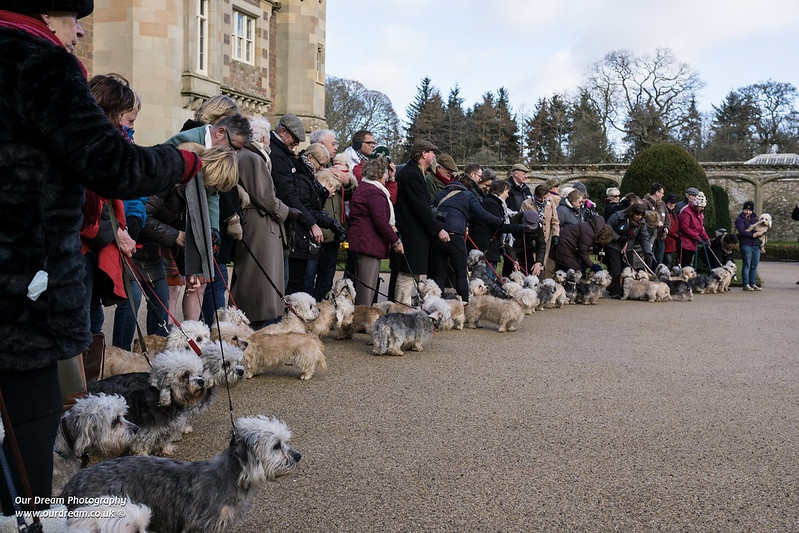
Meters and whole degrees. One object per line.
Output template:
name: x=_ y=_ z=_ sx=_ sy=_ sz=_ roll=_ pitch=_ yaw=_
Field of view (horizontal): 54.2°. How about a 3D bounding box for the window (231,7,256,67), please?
window: x=-5.730 y=-8.580 z=29.427 sx=0.152 sy=1.692 sz=1.685 roll=-8 pitch=25 yaw=-27
